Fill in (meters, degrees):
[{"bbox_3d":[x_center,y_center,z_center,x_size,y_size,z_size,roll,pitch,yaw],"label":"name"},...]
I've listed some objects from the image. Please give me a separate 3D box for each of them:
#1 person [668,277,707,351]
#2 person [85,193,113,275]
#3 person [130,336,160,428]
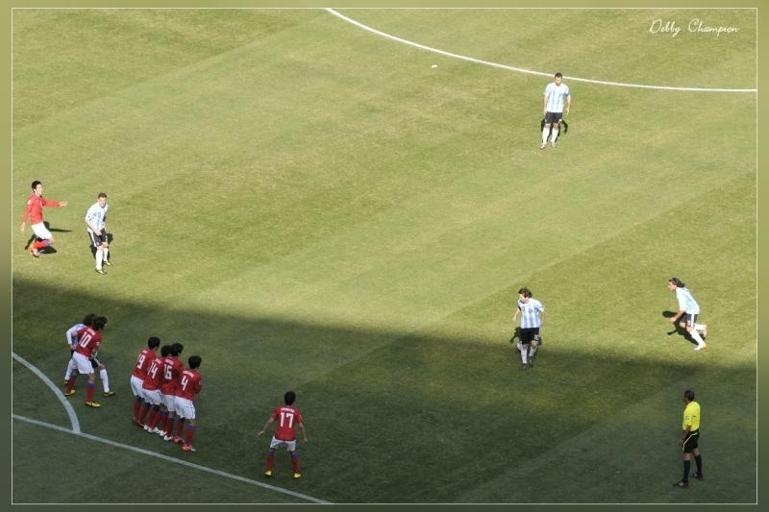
[{"bbox_3d":[10.482,2.064,44.838,1.071,2.440,1.606,0,9,43],"label":"person"},{"bbox_3d":[-10.429,-0.762,46.292,1.202,2.676,0.969,5,-1,-45],"label":"person"},{"bbox_3d":[-7.823,4.121,42.016,1.156,2.911,1.066,8,8,7],"label":"person"}]
